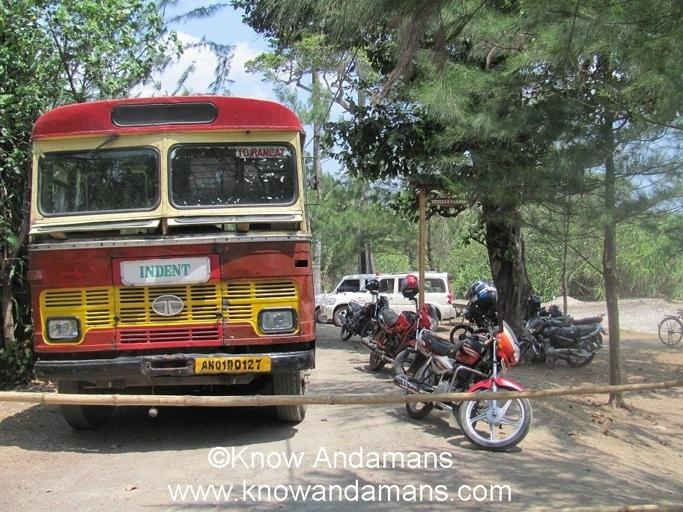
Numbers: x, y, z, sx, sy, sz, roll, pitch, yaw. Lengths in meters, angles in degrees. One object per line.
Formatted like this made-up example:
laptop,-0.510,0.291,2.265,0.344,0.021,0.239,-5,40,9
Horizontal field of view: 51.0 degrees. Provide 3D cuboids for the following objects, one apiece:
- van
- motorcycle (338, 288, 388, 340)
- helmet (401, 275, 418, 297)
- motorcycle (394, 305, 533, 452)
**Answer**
van,1.366,1.166,22.331,3.676,1.726,1.855,3,-1,17
motorcycle,0.513,1.436,16.714,0.706,0.985,1.560,20,-10,-19
helmet,1.258,0.547,13.326,0.270,0.373,0.374,3,0,-3
motorcycle,1.565,1.536,9.525,1.400,1.511,3.375,0,4,-9
